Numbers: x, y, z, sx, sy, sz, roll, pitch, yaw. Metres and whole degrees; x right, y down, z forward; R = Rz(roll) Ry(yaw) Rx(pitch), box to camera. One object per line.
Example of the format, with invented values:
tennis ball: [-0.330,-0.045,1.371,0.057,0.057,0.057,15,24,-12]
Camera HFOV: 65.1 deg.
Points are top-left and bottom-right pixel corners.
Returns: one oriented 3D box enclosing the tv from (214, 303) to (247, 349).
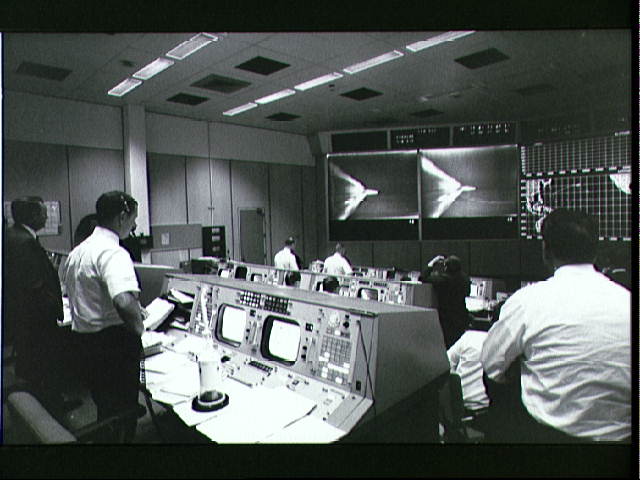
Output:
tv: [-0.501,0.480,2.865,0.208,0.221,0.051,10,1,44]

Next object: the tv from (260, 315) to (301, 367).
tv: [-0.195,0.525,2.646,0.227,0.242,0.054,8,2,42]
